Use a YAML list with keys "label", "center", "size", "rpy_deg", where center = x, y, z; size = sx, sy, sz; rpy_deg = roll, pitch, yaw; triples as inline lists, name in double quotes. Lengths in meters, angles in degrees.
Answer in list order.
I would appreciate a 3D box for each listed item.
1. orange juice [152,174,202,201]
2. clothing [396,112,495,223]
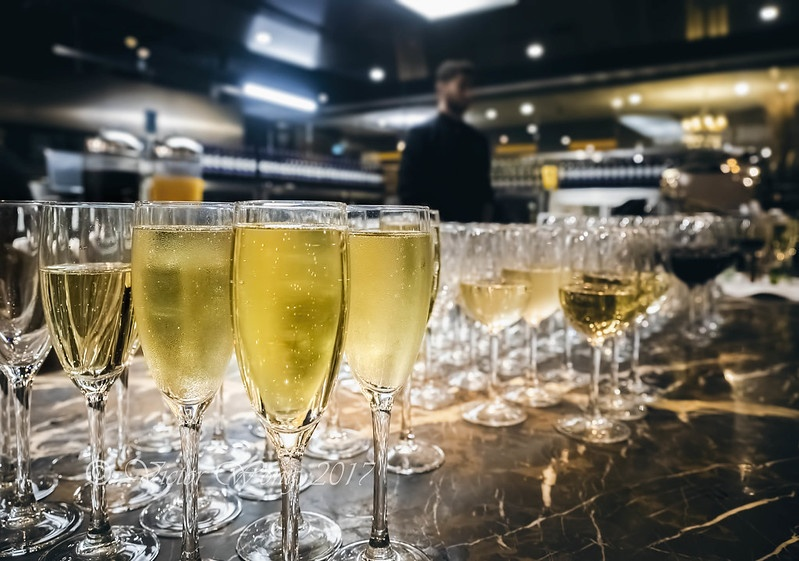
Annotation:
- label: "orange juice"
  center: [-0.951, -0.395, 2.938]
  size: [0.175, 0.103, 0.181]
  rpy_deg: [-5, 20, -15]
- label: "clothing"
  center: [0.221, -0.489, 3.041]
  size: [0.428, 0.463, 0.133]
  rpy_deg: [-5, 10, -29]
